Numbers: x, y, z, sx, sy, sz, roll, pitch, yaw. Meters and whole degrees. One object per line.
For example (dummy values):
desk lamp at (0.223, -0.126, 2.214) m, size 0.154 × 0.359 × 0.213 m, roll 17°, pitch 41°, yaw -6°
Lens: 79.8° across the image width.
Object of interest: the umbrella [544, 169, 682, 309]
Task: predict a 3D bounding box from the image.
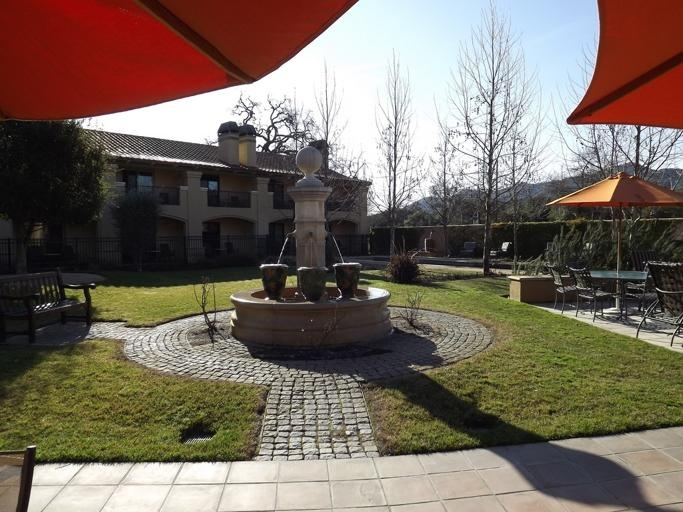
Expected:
umbrella at (6.587, -0.383, 9.961) m, size 2.908 × 2.792 × 3.039 m, roll 1°, pitch 6°, yaw 38°
